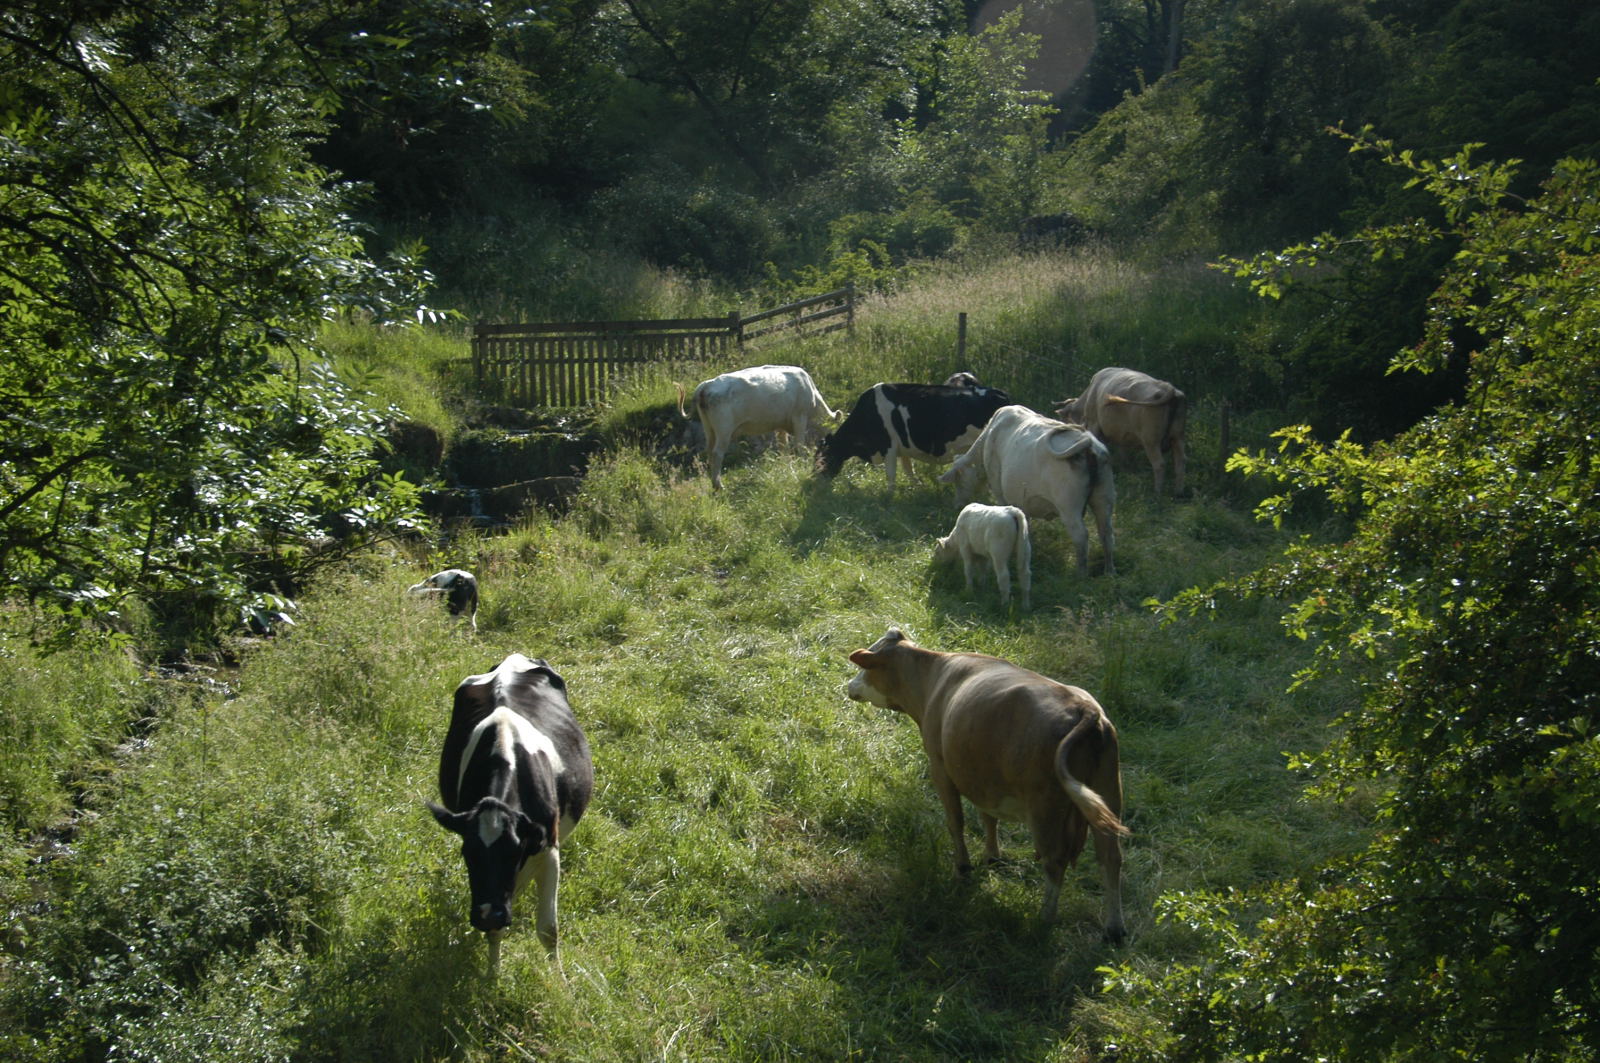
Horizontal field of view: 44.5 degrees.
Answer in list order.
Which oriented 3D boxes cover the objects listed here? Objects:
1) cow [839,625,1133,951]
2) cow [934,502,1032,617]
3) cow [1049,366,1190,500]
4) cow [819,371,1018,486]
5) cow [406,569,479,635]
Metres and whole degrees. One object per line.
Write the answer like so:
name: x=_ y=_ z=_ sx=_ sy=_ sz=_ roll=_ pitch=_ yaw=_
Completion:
cow: x=1.856 y=2.309 z=17.854 sx=0.709 sy=2.080 sz=2.971 roll=-9 pitch=13 yaw=-41
cow: x=2.109 y=0.216 z=22.770 sx=0.495 sy=1.144 sz=1.918 roll=-3 pitch=8 yaw=-24
cow: x=4.264 y=-1.499 z=26.150 sx=0.953 sy=1.612 sz=2.786 roll=-8 pitch=12 yaw=-21
cow: x=1.616 y=-1.531 z=27.055 sx=3.224 sy=1.990 sz=1.132 roll=-5 pitch=9 yaw=10
cow: x=-3.832 y=0.806 z=21.173 sx=0.698 sy=0.581 sz=0.998 roll=-3 pitch=10 yaw=-9
